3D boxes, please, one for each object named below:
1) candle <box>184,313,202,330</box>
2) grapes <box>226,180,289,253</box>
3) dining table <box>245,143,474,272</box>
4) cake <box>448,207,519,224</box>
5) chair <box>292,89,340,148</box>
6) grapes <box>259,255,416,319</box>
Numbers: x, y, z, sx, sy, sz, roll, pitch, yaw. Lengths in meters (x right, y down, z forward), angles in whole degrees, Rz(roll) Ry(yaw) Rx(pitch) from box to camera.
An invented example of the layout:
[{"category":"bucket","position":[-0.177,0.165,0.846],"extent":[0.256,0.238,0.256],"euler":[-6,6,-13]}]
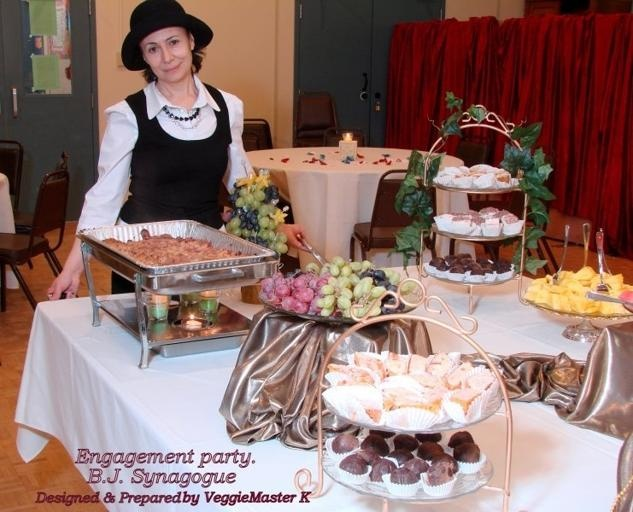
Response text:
[{"category":"candle","position":[-0.317,0.168,1.335],"extent":[0.032,0.011,0.032],"euler":[20,25,39]},{"category":"grapes","position":[-0.187,-0.134,1.602],"extent":[0.201,0.219,0.151],"euler":[0,14,8]},{"category":"dining table","position":[0.134,-0.476,4.241],"extent":[1.229,0.759,1.203],"euler":[1,15,3]},{"category":"cake","position":[0.670,-0.168,2.089],"extent":[0.193,0.054,0.198],"euler":[0,18,10]},{"category":"chair","position":[-0.002,-1.608,6.631],"extent":[0.568,0.806,0.765],"euler":[-2,29,4]},{"category":"grapes","position":[0.029,0.033,1.057],"extent":[0.249,0.100,0.149],"euler":[3,8,4]}]
